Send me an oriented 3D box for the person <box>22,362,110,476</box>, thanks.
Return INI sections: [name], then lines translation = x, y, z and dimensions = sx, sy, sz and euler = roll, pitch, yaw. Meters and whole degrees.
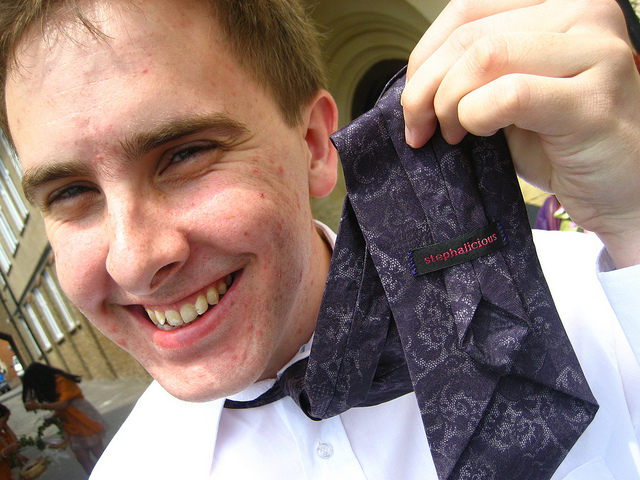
[person]
translation = -2.005, 1.430, 4.589
dimensions = 0.394, 0.355, 0.962
euler = -11, 44, -25
